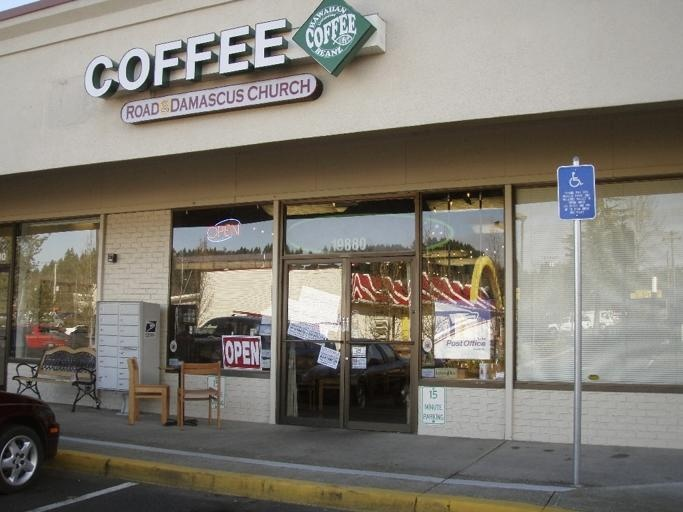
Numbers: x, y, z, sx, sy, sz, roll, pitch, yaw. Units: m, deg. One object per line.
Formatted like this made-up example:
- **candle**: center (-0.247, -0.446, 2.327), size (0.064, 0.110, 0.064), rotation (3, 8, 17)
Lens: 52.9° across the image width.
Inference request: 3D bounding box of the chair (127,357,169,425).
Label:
- **chair**: center (-3.432, 2.373, 12.243), size (0.837, 1.088, 0.877), rotation (3, -6, -28)

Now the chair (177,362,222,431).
- **chair**: center (-2.450, 2.355, 11.735), size (0.701, 1.154, 0.780), rotation (1, -6, -8)

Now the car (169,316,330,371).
- **car**: center (-2.091, 1.767, 12.456), size (2.598, 1.072, 1.254), rotation (1, -2, 20)

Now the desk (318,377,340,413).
- **desk**: center (-0.280, 2.322, 12.029), size (0.444, 0.701, 0.654), rotation (-1, -4, 2)

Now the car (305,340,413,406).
- **car**: center (0.439, 2.022, 11.840), size (1.420, 0.790, 0.849), rotation (0, -5, 22)
